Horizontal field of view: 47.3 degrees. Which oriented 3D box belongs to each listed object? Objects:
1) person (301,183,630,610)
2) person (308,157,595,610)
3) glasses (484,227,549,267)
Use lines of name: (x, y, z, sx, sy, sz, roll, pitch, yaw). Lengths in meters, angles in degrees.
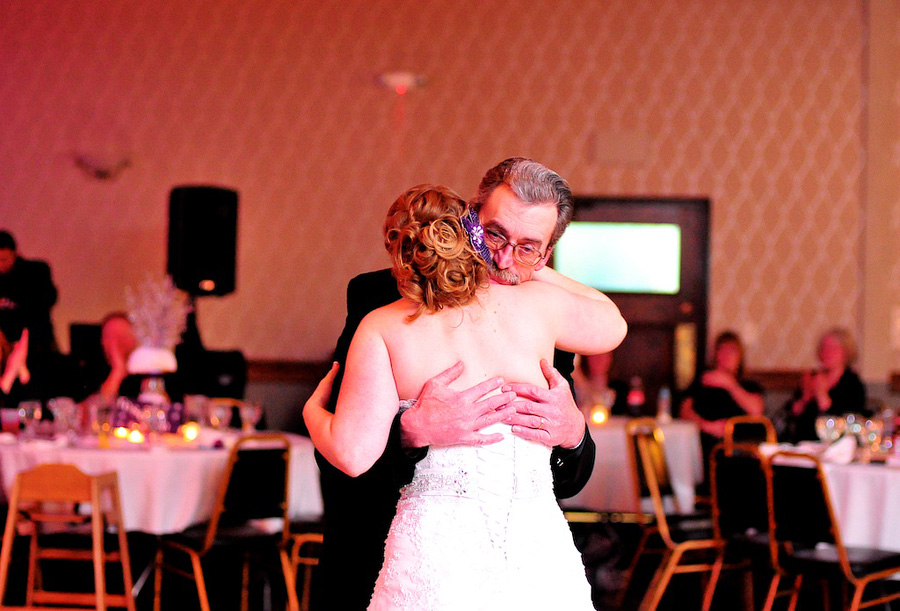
person: (0.048, 0.418, 4.402, 1.250, 1.790, 0.312, 3, -4, -11)
person: (0.079, 0.322, 4.801, 0.972, 2.413, 0.757, 4, -3, 16)
glasses: (0.278, -0.238, 4.493, 0.177, 0.058, 0.188, 21, -26, 3)
